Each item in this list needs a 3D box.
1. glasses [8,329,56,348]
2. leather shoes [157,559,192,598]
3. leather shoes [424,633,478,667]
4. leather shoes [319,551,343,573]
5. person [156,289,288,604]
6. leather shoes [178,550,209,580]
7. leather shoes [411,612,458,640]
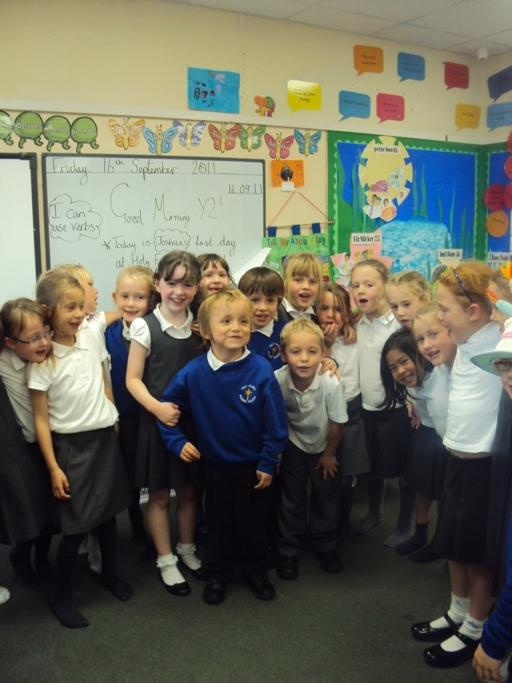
[{"bbox_3d":[-0.631,-0.004,1.563,0.119,0.043,0.070,-5,7,-19],"label":"glasses"},{"bbox_3d":[-0.255,0.722,1.748,0.056,0.059,0.155,-2,5,-29],"label":"leather shoes"},{"bbox_3d":[0.469,0.745,1.358,0.152,0.053,0.055,-8,12,-11],"label":"leather shoes"},{"bbox_3d":[0.243,0.706,1.847,0.076,0.047,0.122,-2,7,6],"label":"leather shoes"},{"bbox_3d":[-0.098,0.303,1.718,0.375,0.908,0.256,-3,7,-4],"label":"person"},{"bbox_3d":[-0.203,0.741,1.870,0.047,0.050,0.129,14,6,-46],"label":"leather shoes"},{"bbox_3d":[0.461,0.729,1.460,0.135,0.051,0.048,-4,13,7],"label":"leather shoes"}]
